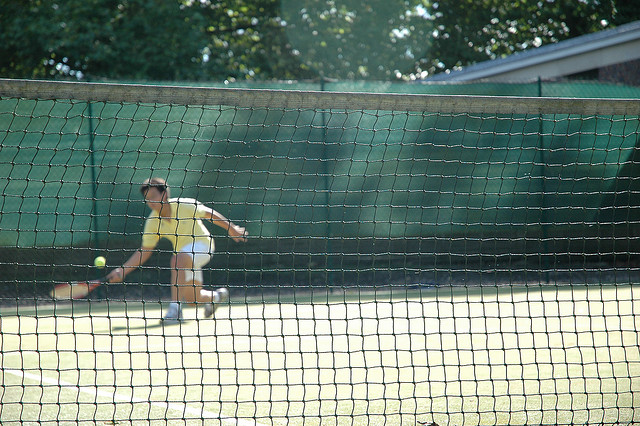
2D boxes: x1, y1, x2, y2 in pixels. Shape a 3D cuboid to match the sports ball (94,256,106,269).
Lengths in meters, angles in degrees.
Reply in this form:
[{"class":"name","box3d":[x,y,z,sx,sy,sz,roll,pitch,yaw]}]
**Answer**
[{"class":"sports ball","box3d":[-3.728,0.851,17.663,0.219,0.254,0.222,1,4,0]}]
